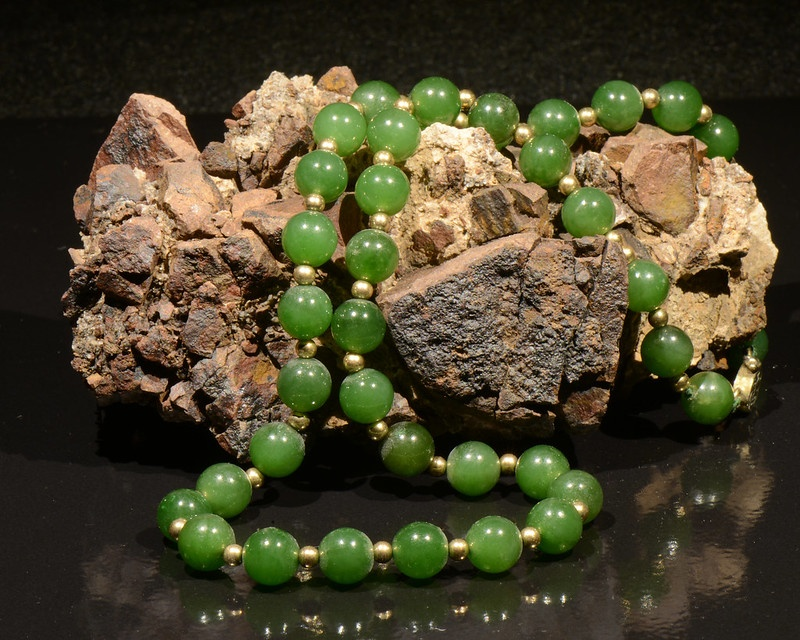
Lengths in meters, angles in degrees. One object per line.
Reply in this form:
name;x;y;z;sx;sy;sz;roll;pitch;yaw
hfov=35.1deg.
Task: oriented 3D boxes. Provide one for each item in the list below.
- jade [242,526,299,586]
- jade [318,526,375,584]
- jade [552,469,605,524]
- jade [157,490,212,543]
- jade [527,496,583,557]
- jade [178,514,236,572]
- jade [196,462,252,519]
jade;-0.480;0.865;4.713;0.218;0.222;0.213;-11;105;-1
jade;-0.200;0.873;4.695;0.220;0.176;0.219;1;100;1
jade;0.652;0.669;4.916;0.200;0.194;0.223;-2;67;-4
jade;-0.835;0.756;4.849;0.202;0.199;0.226;1;86;-33
jade;0.581;0.755;4.708;0.213;0.195;0.234;-1;94;-7
jade;-0.737;0.825;4.762;0.207;0.197;0.227;3;63;-26
jade;-0.695;0.638;4.979;0.236;0.232;0.263;5;46;-12
